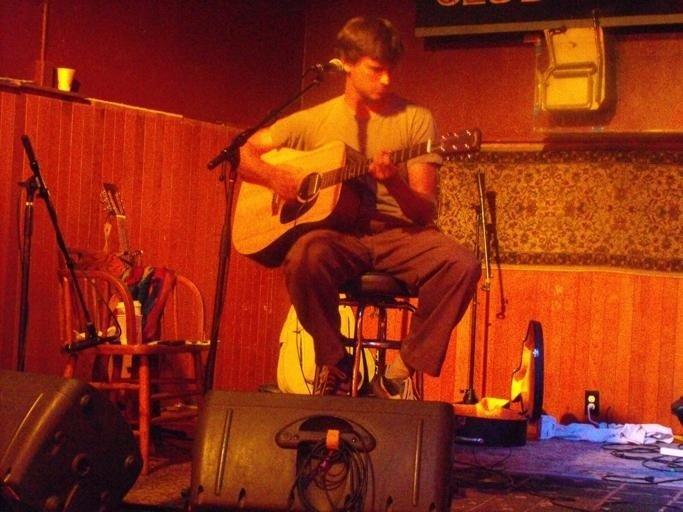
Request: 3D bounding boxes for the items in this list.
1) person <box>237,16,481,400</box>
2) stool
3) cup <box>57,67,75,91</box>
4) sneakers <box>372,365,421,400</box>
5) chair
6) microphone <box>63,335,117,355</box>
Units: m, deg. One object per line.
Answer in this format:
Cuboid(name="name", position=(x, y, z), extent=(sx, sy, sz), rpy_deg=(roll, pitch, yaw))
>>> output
Cuboid(name="person", position=(0.081, -0.332, 3.677), extent=(1.194, 2.021, 0.789), rpy_deg=(1, -6, 11))
Cuboid(name="stool", position=(0.188, 0.380, 3.572), extent=(0.365, 0.591, 0.380), rpy_deg=(5, 1, 24))
Cuboid(name="cup", position=(-1.775, -1.126, 4.726), extent=(0.104, 0.163, 0.063), rpy_deg=(5, -7, -29))
Cuboid(name="sneakers", position=(0.256, 0.631, 3.488), extent=(0.226, 0.257, 0.162), rpy_deg=(2, 5, 10))
Cuboid(name="chair", position=(-1.073, 0.469, 3.900), extent=(0.739, 1.181, 0.825), rpy_deg=(8, -12, -10))
Cuboid(name="microphone", position=(-1.192, 0.414, 3.516), extent=(0.244, 0.091, 0.364), rpy_deg=(5, -7, -22))
